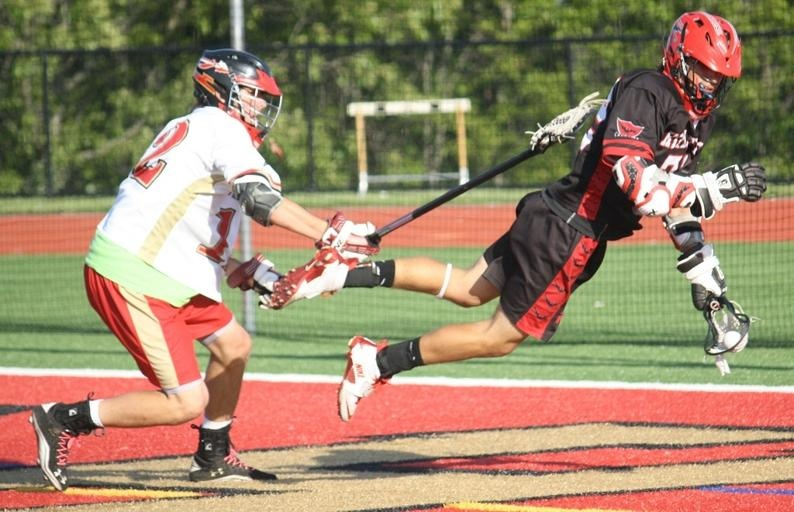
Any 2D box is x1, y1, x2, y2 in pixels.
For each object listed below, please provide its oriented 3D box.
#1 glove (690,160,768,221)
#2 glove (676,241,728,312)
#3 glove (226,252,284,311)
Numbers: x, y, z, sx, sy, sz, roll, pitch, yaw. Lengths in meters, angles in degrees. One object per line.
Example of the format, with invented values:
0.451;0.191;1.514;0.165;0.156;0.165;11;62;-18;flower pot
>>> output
3.074;-0.615;11.952;0.676;0.494;0.242;0;8;8;glove
2.976;0.187;12.464;0.523;0.590;0.292;-25;-1;15;glove
-1.375;0.224;12.420;0.500;0.282;0.359;-8;3;-4;glove
